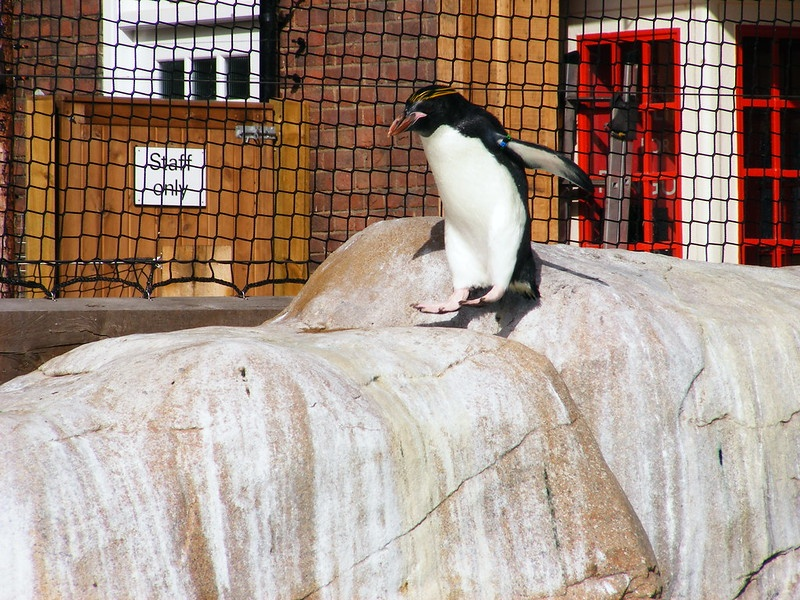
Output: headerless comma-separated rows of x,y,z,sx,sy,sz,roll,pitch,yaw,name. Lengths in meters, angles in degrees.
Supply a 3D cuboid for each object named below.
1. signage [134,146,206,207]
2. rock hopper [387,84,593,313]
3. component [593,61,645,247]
-1.373,-0.746,13.533,0.333,0.287,0.045,3,-5,-8,signage
0.381,-0.507,10.998,0.867,1.033,0.268,0,2,-1,rock hopper
1.312,-0.896,13.818,0.224,1.167,0.738,0,2,6,component
